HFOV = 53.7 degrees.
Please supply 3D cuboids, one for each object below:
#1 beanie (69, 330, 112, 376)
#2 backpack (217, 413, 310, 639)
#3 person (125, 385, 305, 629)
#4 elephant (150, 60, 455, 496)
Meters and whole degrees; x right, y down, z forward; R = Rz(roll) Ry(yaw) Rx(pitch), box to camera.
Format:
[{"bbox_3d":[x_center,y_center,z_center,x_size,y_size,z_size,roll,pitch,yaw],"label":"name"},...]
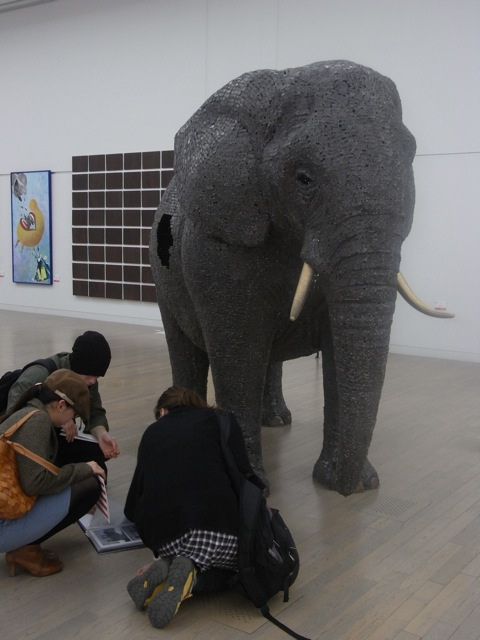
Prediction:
[{"bbox_3d":[-0.689,0.159,2.156,0.175,0.200,0.206,-7,19,-26],"label":"beanie"},{"bbox_3d":[0.059,0.661,1.433,0.268,0.631,0.419,1,16,-1],"label":"backpack"},{"bbox_3d":[-0.120,0.590,1.571,0.528,0.739,0.499,-5,-24,-2],"label":"person"},{"bbox_3d":[0.134,-0.179,2.658,0.997,1.938,1.941,-4,5,-24],"label":"elephant"}]
